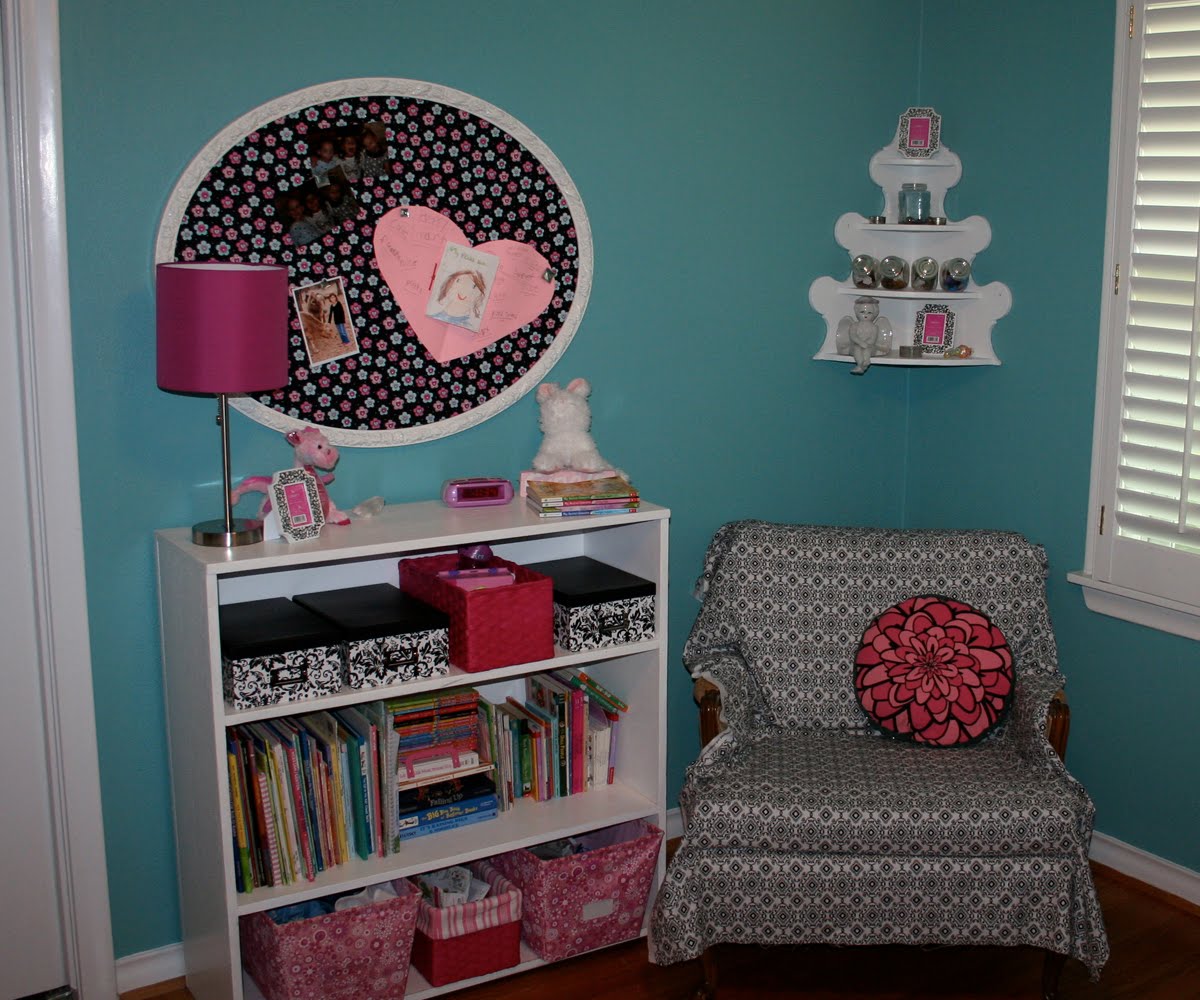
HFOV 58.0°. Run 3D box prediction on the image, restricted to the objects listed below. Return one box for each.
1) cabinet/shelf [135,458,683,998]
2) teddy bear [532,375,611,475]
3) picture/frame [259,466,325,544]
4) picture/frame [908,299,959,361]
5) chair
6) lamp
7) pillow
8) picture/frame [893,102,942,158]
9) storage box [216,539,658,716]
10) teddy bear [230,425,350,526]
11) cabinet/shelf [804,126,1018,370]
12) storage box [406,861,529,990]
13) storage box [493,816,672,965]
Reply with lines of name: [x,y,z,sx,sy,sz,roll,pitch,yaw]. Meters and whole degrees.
cabinet/shelf: [-0.501,0.574,2.630,1.091,1.110,0.377,-7,11,-33]
teddy bear: [-0.084,-0.203,2.855,0.222,0.327,0.227,-1,6,-7]
picture/frame: [-0.695,0.017,2.463,0.140,0.209,0.027,8,-10,-38]
picture/frame: [1.035,-0.529,3.362,0.114,0.164,0.139,1,11,18]
chair: [0.665,0.599,2.769,1.056,0.961,0.777,-1,10,7]
lamp: [-0.816,-0.210,2.392,0.280,0.620,0.224,-6,11,-23]
pillow: [0.882,0.439,2.898,0.418,0.110,0.466,7,43,30]
picture/frame: [0.994,-1.142,3.365,0.141,0.145,0.128,0,11,13]
storage box: [-0.407,0.318,2.696,1.029,0.188,0.310,-7,12,-25]
teddy bear: [-0.735,-0.057,2.569,0.279,0.278,0.119,-1,10,-10]
cabinet/shelf: [0.978,-0.801,3.312,0.560,0.783,0.205,-1,6,2]
storage box: [-0.342,1.056,2.719,0.199,0.174,0.262,-1,1,-20]
storage box: [-0.039,0.979,2.895,0.377,0.286,0.309,-2,3,-28]
